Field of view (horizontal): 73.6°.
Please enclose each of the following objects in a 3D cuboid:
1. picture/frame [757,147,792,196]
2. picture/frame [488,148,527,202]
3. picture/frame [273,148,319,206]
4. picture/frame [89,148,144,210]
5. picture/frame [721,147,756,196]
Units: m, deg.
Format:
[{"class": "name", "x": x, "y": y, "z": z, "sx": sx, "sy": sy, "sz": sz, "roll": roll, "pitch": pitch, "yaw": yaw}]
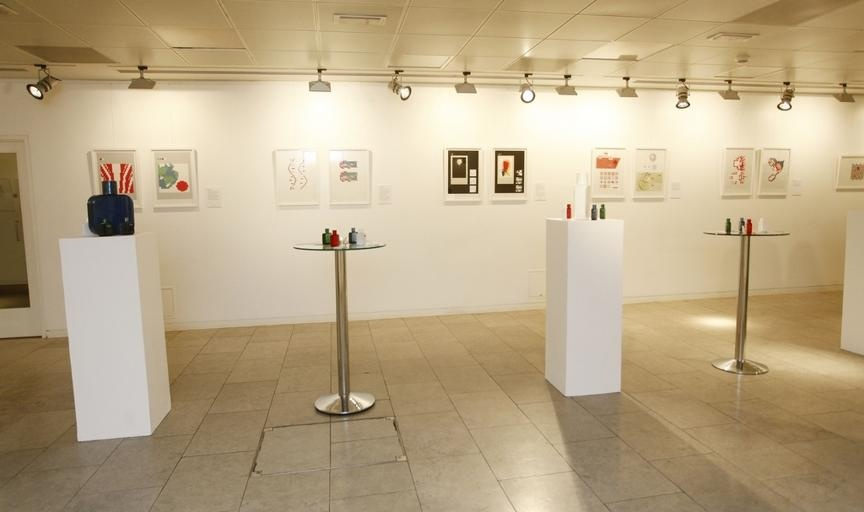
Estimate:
[{"class": "picture/frame", "x": 6.425, "y": -1.575, "z": 10.897, "sx": 0.676, "sy": 0.897, "sz": 0.174, "roll": -4, "pitch": 11, "yaw": -17}, {"class": "picture/frame", "x": 1.324, "y": -1.415, "z": 10.029, "sx": 0.595, "sy": 0.865, "sz": 0.124, "roll": -2, "pitch": 11, "yaw": -7}, {"class": "picture/frame", "x": -2.266, "y": -1.317, "z": 9.465, "sx": 1.013, "sy": 1.127, "sz": 0.123, "roll": -1, "pitch": 6, "yaw": -6}, {"class": "picture/frame", "x": -5.040, "y": -1.207, "z": 9.179, "sx": 0.734, "sy": 0.970, "sz": 0.282, "roll": 0, "pitch": 10, "yaw": 5}, {"class": "picture/frame", "x": 5.712, "y": -1.558, "z": 10.786, "sx": 0.680, "sy": 0.890, "sz": 0.186, "roll": -5, "pitch": 11, "yaw": -19}]
